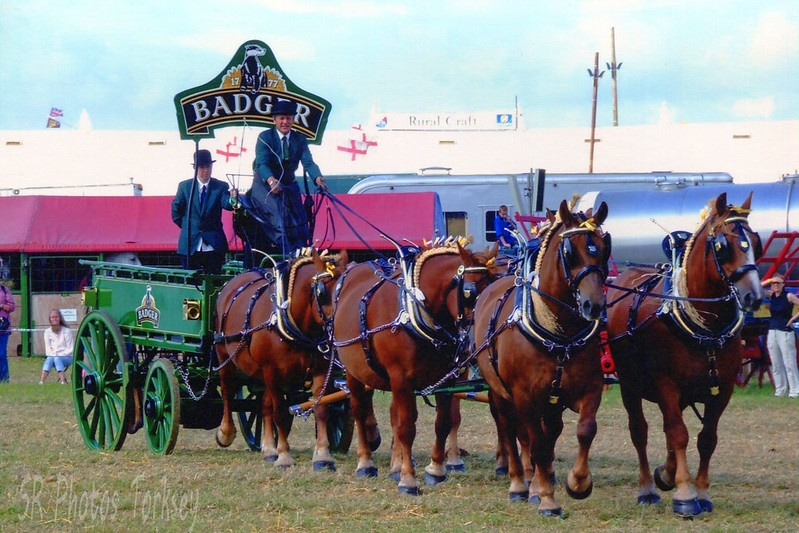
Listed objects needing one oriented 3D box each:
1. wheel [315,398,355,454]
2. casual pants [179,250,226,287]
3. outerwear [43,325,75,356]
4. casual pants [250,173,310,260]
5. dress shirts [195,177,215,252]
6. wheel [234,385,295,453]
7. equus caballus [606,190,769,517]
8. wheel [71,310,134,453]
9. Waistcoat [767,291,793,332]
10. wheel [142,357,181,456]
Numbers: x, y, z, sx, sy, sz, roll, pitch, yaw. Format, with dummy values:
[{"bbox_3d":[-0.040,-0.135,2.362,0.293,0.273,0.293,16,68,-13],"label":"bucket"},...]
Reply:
[{"bbox_3d":[-1.061,2.544,25.997,0.262,0.881,0.880,0,9,-18],"label":"wheel"},{"bbox_3d":[-3.205,0.046,27.280,0.637,0.600,0.554,-1,3,-20],"label":"casual pants"},{"bbox_3d":[-6.782,1.565,32.997,0.550,0.603,0.378,5,-11,-12],"label":"outerwear"},{"bbox_3d":[-1.704,-0.778,26.427,0.528,1.003,1.962,-19,34,-20],"label":"casual pants"},{"bbox_3d":[-3.250,-0.759,27.438,0.290,1.060,0.244,2,-2,-6],"label":"dress shirts"},{"bbox_3d":[-2.475,2.496,27.092,1.077,1.059,0.274,13,-4,-26],"label":"wheel"},{"bbox_3d":[3.963,1.312,23.348,2.212,4.501,0.913,-4,-13,35],"label":"equus caballus"},{"bbox_3d":[-4.761,1.917,26.661,0.565,1.731,1.726,-2,22,-38],"label":"wheel"},{"bbox_3d":[6.816,0.864,30.103,0.405,0.716,0.493,1,-11,12],"label":"Waistcoat"},{"bbox_3d":[-3.746,2.254,25.992,0.340,1.113,1.070,-2,35,-28],"label":"wheel"}]
